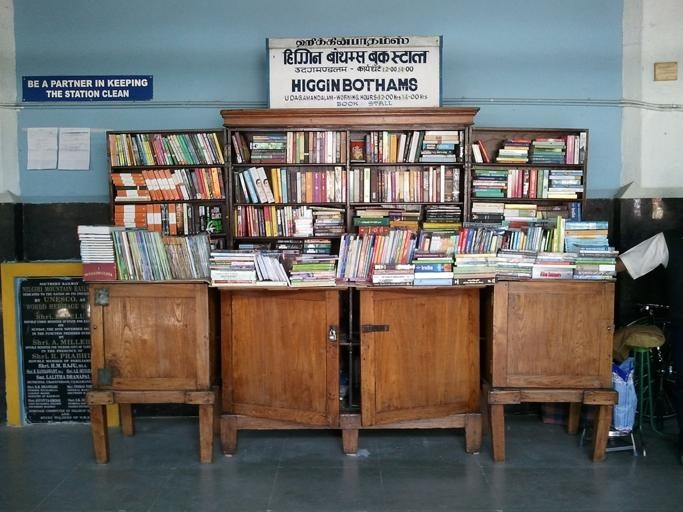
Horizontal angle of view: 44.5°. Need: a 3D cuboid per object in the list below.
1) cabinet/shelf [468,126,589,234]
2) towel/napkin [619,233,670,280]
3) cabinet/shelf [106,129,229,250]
[{"bbox_3d":[1.742,-0.704,7.826,1.132,0.907,0.347,1,3,1],"label":"cabinet/shelf"},{"bbox_3d":[2.676,-0.007,7.458,0.439,0.367,0.157,-30,9,-6],"label":"towel/napkin"},{"bbox_3d":[-1.633,-0.756,8.031,1.082,0.933,0.314,0,9,8],"label":"cabinet/shelf"}]
